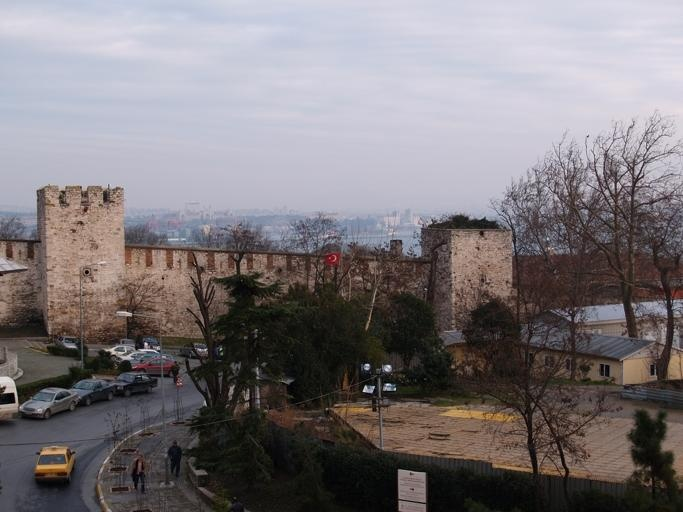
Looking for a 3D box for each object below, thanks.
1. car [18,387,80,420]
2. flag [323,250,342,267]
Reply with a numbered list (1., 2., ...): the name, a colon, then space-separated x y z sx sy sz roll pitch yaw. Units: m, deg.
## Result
1. car: -15.385 7.690 56.112 1.266 1.027 3.090 -2 -2 28
2. flag: -0.439 0.126 65.034 1.023 0.727 1.028 -1 5 -32
